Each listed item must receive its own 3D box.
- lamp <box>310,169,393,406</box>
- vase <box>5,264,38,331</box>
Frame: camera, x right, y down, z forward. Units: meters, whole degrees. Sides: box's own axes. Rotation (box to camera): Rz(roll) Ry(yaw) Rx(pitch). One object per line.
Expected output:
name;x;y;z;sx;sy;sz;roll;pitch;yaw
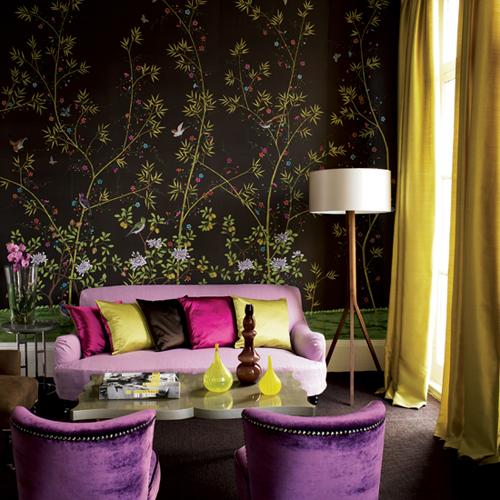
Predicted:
lamp;0.729;0.243;3.589;0.558;1.652;0.728;1;5;13
vase;-1.671;0.329;3.552;0.208;0.445;0.134;-3;6;-31
